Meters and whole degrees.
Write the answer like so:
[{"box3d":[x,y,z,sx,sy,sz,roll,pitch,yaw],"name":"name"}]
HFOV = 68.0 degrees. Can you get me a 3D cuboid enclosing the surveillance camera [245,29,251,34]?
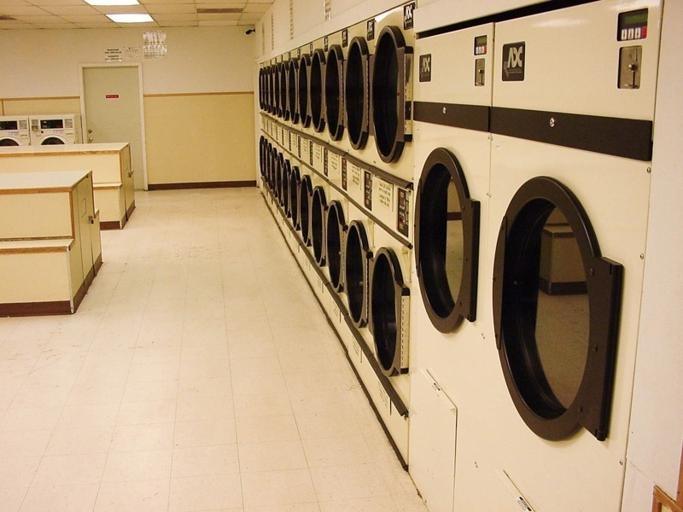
[{"box3d":[-1.755,-4.277,9.649,0.068,0.035,0.142,-8,15,1],"name":"surveillance camera"}]
